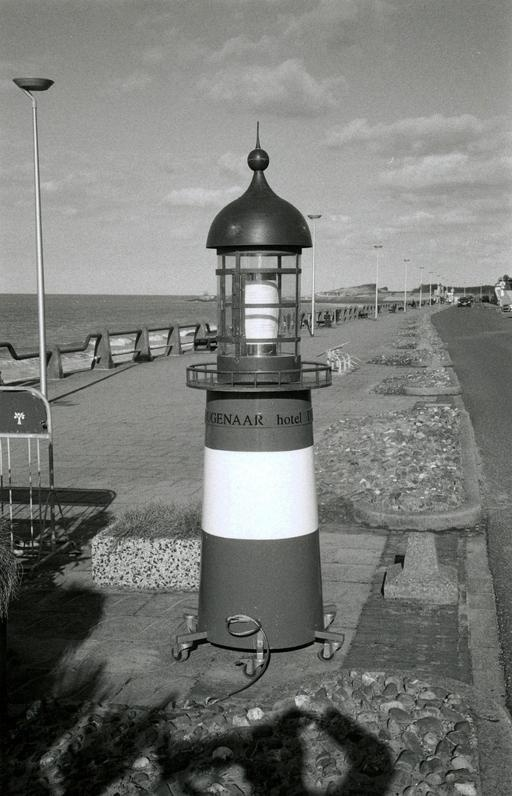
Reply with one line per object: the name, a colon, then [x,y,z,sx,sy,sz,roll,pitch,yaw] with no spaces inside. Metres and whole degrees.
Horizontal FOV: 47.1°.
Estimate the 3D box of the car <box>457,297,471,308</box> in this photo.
car: [48.082,-21.667,135.150,2.099,2.723,5.739,-3,-3,28]
